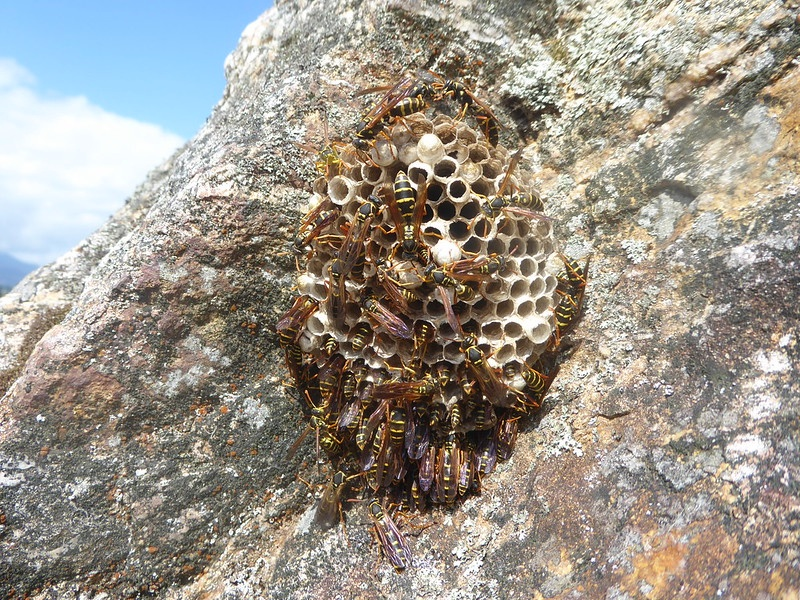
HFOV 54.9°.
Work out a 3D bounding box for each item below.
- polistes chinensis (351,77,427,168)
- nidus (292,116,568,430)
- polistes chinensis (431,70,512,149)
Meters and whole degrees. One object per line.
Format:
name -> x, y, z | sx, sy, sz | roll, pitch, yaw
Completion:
polistes chinensis -> -0.036, -1.373, 6.057 | 0.688, 0.511, 0.212 | -44, -35, 23
nidus -> 0.350, -0.234, 6.757 | 2.034, 2.284, 0.904 | 2, 4, 7
polistes chinensis -> 0.535, -1.495, 6.110 | 0.191, 0.582, 0.421 | -46, 25, 18
